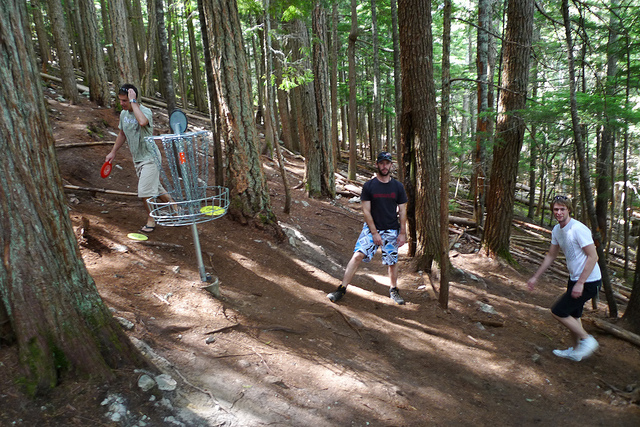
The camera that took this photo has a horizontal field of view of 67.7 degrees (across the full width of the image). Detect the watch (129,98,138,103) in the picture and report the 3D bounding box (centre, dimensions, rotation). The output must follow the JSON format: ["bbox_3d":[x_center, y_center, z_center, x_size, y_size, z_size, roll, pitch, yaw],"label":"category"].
[{"bbox_3d":[-3.047,-1.858,7.839,0.097,0.061,0.093,12,-16,31],"label":"watch"}]

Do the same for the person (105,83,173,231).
[{"bbox_3d":[-3.111,-0.965,8.272,0.924,2.469,1.315,-7,19,-23],"label":"person"}]

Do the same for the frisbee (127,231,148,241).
[{"bbox_3d":[-3.117,0.393,8.201,0.308,0.093,0.240,-5,17,-18],"label":"frisbee"}]
